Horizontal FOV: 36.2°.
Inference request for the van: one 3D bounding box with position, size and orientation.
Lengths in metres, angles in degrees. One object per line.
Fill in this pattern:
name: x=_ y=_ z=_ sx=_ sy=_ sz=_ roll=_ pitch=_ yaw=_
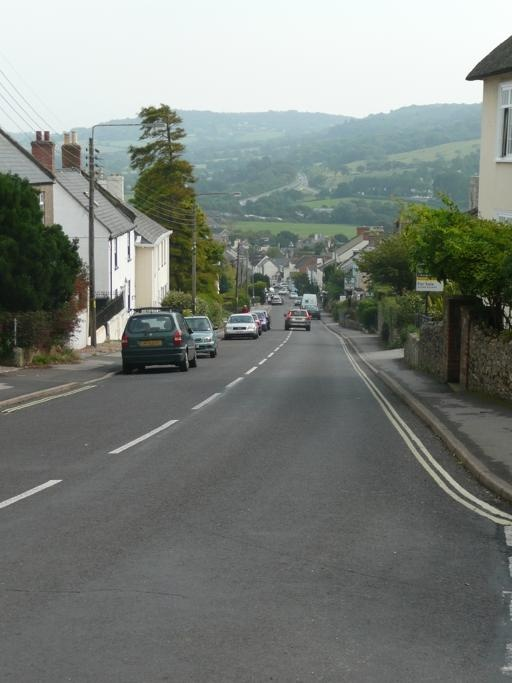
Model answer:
van: x=-2.548 y=-0.100 z=21.644 sx=1.201 sy=1.188 sz=2.331 roll=-1 pitch=4 yaw=6
